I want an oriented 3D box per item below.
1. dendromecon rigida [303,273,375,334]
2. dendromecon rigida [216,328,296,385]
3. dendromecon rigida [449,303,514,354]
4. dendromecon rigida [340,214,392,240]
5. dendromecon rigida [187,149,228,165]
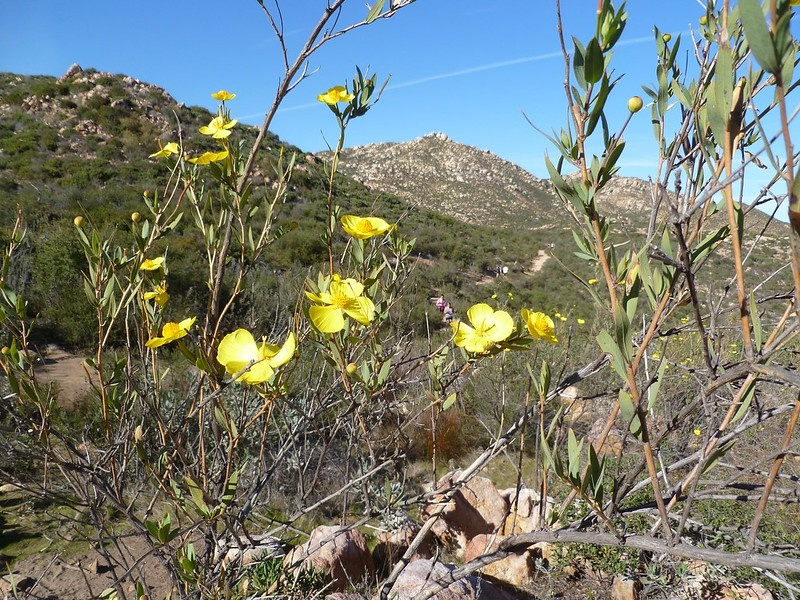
[{"bbox_3d":[-0.227,0.025,2.333,0.257,0.230,0.151,3,7,0],"label":"dendromecon rigida"},{"bbox_3d":[-0.529,0.210,2.277,0.231,0.226,0.102,-20,-23,10],"label":"dendromecon rigida"},{"bbox_3d":[0.335,0.120,2.483,0.247,0.197,0.225,4,7,5],"label":"dendromecon rigida"},{"bbox_3d":[-0.130,-0.286,2.502,0.196,0.094,0.287,5,7,9],"label":"dendromecon rigida"},{"bbox_3d":[-0.811,-0.586,2.554,0.139,0.071,0.288,-2,9,-37],"label":"dendromecon rigida"}]
